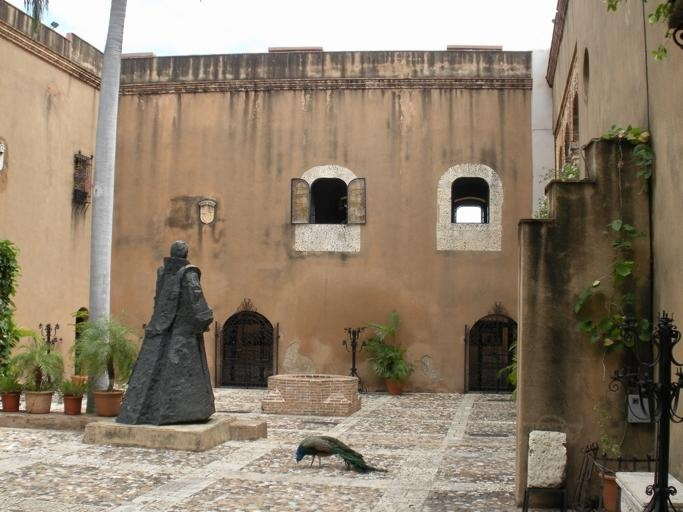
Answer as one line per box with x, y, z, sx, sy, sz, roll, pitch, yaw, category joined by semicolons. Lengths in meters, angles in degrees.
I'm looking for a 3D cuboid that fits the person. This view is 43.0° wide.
-2.566;1.110;13.046;1.269;2.700;0.448;1;-8;-9;person

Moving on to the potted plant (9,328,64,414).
-5.347;1.987;15.089;1.198;1.735;1.104;3;-9;-14;potted plant

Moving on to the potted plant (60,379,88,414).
-4.443;2.279;14.364;0.401;0.547;0.324;3;-9;-19;potted plant

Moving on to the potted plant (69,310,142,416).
-4.143;1.742;14.366;1.355;1.923;1.535;1;-3;-5;potted plant

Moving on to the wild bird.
0.140;2.621;11.889;1.471;0.652;0.467;-6;-5;12;wild bird
